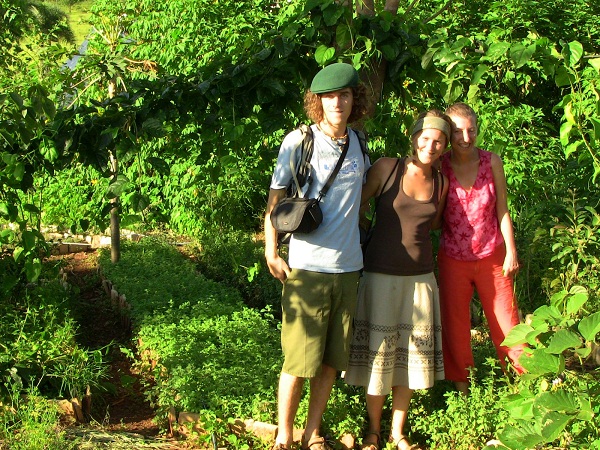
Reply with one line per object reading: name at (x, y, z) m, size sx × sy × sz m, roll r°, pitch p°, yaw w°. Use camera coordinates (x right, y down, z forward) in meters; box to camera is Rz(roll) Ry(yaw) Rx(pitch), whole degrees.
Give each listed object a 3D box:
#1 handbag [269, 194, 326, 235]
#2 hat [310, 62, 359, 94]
handbag at (-0.034, -0.054, 3.250) m, size 0.295 × 0.221 × 0.153 m, roll 0°, pitch -5°, yaw 42°
hat at (0.203, -0.888, 3.354) m, size 0.281 × 0.138 × 0.379 m, roll 6°, pitch 22°, yaw 33°
